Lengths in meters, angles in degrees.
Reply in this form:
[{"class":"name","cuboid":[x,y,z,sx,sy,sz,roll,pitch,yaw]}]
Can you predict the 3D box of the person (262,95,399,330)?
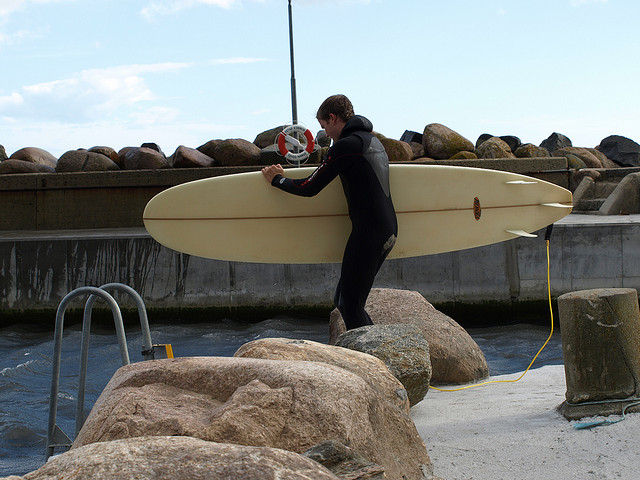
[{"class":"person","cuboid":[0.202,-0.256,9.933,1.021,2.176,0.501,-1,1,3]}]
